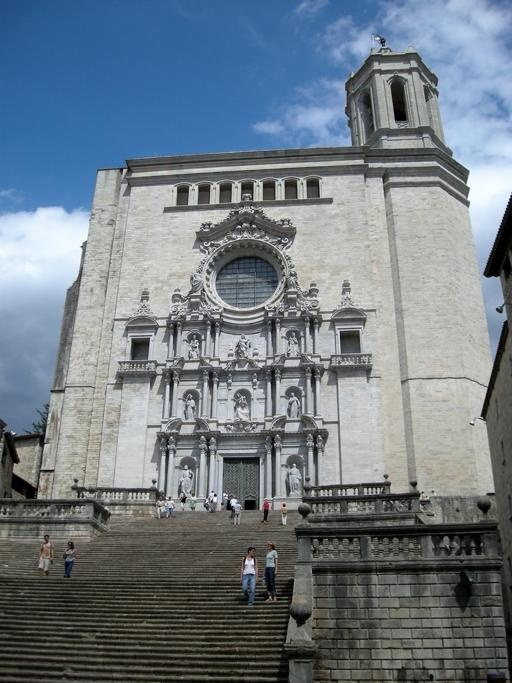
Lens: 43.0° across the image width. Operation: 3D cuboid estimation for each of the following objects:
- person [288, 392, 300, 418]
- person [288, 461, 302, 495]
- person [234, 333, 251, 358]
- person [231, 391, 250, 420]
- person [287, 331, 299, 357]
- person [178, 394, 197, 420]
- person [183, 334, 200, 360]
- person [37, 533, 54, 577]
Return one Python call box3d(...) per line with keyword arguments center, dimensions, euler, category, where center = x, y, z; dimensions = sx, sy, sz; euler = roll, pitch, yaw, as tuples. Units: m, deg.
box3d(center=(1.694, 2.954, 29.970), dimensions=(0.617, 1.346, 0.399), euler=(0, -30, 4), category="person")
box3d(center=(1.690, 6.118, 28.275), dimensions=(0.637, 1.292, 0.618), euler=(7, -30, -8), category="person")
box3d(center=(-0.657, 0.261, 31.567), dimensions=(0.775, 1.491, 0.274), euler=(4, -30, -3), category="person")
box3d(center=(-0.712, 2.992, 30.451), dimensions=(0.790, 1.384, 0.316), euler=(3, -30, -1), category="person")
box3d(center=(1.743, 0.164, 31.118), dimensions=(0.610, 1.408, 0.144), euler=(0, -30, 3), category="person")
box3d(center=(-3.170, 3.079, 30.632), dimensions=(0.755, 1.465, 0.300), euler=(4, -30, -4), category="person")
box3d(center=(-3.150, 0.283, 31.801), dimensions=(0.701, 1.367, 0.304), euler=(-4, -31, 11), category="person")
box3d(center=(-5.188, 5.295, 16.004), dimensions=(0.288, 0.969, 0.646), euler=(10, -30, -14), category="person")
